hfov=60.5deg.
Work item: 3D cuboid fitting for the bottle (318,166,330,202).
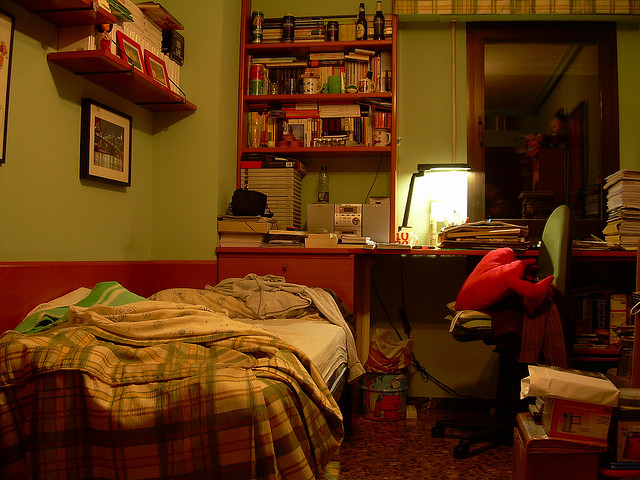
[{"bbox_3d":[0.024,-0.384,3.757,0.076,0.255,0.172,-1,2,0],"label":"bottle"}]

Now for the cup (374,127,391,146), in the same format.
[{"bbox_3d":[0.415,-0.683,3.605,0.118,0.126,0.085,2,1,8],"label":"cup"}]

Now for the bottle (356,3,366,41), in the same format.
[{"bbox_3d":[0.273,-1.459,3.672,0.063,0.278,0.109,0,2,4],"label":"bottle"}]

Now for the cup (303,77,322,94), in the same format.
[{"bbox_3d":[-0.055,-1.022,3.641,0.126,0.098,0.084,1,9,10],"label":"cup"}]

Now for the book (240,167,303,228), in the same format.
[{"bbox_3d":[-0.273,-0.323,3.688,0.467,0.494,0.349,1,0,4],"label":"book"}]

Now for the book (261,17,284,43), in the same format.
[{"bbox_3d":[-0.310,-1.403,3.790,0.191,0.207,0.148,1,3,3],"label":"book"}]

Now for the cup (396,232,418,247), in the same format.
[{"bbox_3d":[0.557,-0.002,3.498,0.123,0.092,0.082,3,3,20],"label":"cup"}]

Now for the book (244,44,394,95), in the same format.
[{"bbox_3d":[0.012,-1.095,3.606,0.951,0.353,0.286,3,6,12],"label":"book"}]

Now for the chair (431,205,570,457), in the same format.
[{"bbox_3d":[0.943,0.470,2.898,0.646,1.285,0.568,-1,2,-1],"label":"chair"}]

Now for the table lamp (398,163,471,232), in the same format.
[{"bbox_3d":[0.749,-0.203,3.647,0.328,0.583,0.305,0,-1,13],"label":"table lamp"}]

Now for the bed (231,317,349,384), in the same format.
[{"bbox_3d":[-0.107,0.423,2.405,0.493,0.258,0.505,4,3,0],"label":"bed"}]

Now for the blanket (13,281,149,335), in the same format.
[{"bbox_3d":[-0.949,0.269,2.256,0.380,0.208,0.425,3,2,-8],"label":"blanket"}]

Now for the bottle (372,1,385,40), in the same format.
[{"bbox_3d":[0.390,-1.456,3.652,0.076,0.267,0.068,0,2,5],"label":"bottle"}]

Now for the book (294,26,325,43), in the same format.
[{"bbox_3d":[-0.072,-1.379,3.675,0.203,0.128,0.070,-1,2,1],"label":"book"}]
